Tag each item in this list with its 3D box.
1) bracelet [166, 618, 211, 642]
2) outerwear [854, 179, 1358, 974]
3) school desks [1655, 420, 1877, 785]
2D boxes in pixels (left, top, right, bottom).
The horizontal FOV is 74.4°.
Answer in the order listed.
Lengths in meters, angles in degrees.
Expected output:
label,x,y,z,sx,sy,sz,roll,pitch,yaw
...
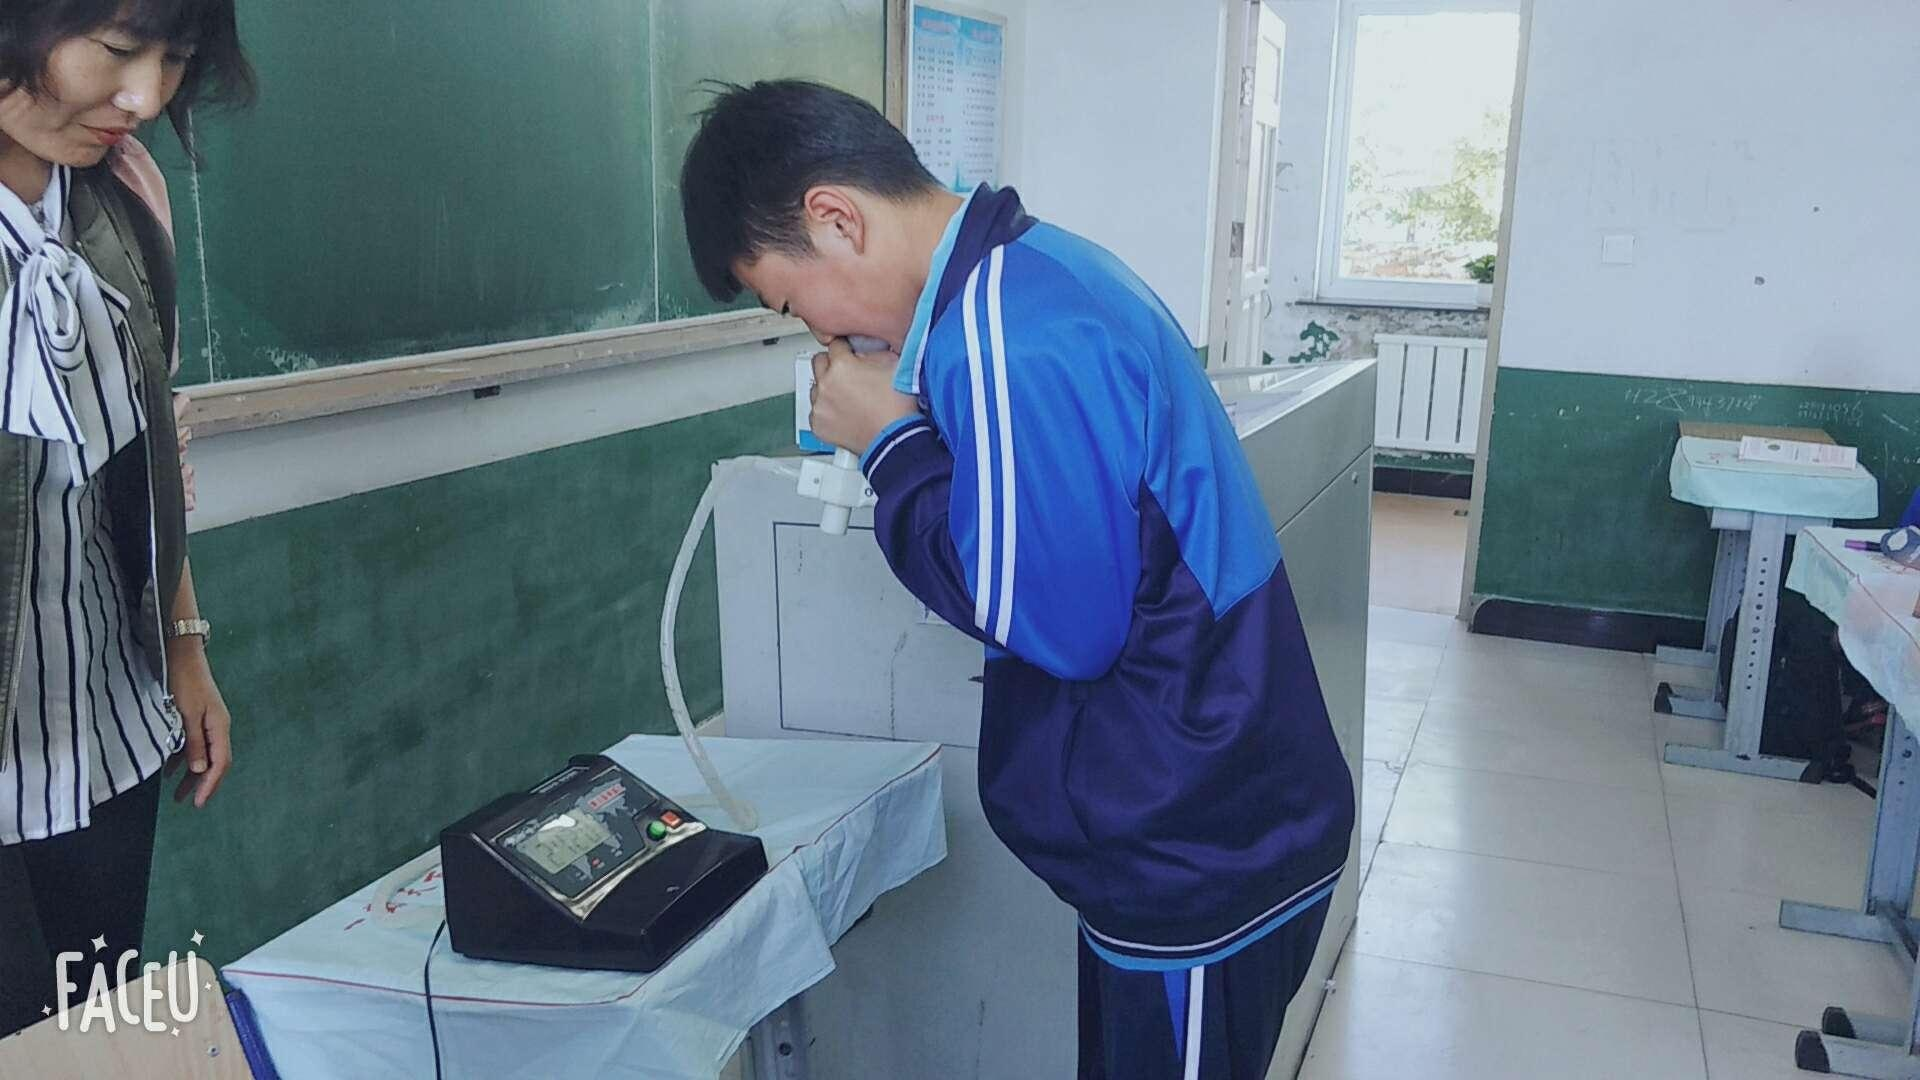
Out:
label,x,y,z,sx,sy,sz,roll,pitch,yaw
bracelet,-1.381,0.161,2.268,0.072,0.042,0.070,0,-1,-15
outerwear,0.259,0.073,2.086,0.820,1.266,0.299,-2,14,-5
school desks,2.885,0.231,4.493,0.551,0.991,1.125,7,17,25
